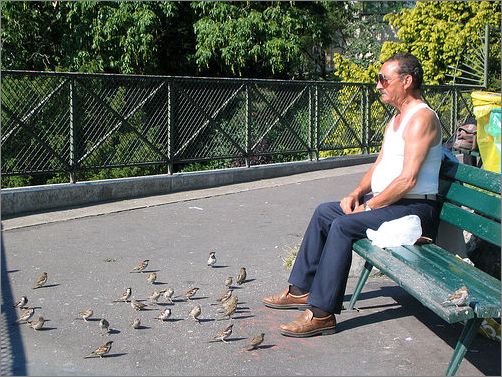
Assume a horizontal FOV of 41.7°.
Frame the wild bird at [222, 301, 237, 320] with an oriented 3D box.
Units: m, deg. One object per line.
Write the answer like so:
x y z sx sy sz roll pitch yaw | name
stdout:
-0.205 1.142 6.373 0.125 0.174 0.236 1 12 0 | wild bird

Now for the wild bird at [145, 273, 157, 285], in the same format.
-1.057 0.965 7.101 0.073 0.143 0.128 19 -23 -38 | wild bird

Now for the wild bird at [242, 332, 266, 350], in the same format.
0.032 1.349 5.862 0.172 0.132 0.096 -6 4 -8 | wild bird

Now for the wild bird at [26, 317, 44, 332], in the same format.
-1.987 1.257 6.137 0.142 0.127 0.087 12 -10 28 | wild bird

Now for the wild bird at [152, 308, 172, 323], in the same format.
-0.850 1.201 6.279 0.143 0.115 0.090 5 -6 8 | wild bird

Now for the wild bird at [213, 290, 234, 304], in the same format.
-0.265 1.100 6.652 0.196 0.135 0.078 -21 -27 22 | wild bird

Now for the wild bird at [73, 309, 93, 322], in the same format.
-1.568 1.198 6.250 0.199 0.132 0.071 7 -6 34 | wild bird

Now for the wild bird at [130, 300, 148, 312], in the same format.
-1.109 1.137 6.525 0.147 0.090 0.155 3 13 7 | wild bird

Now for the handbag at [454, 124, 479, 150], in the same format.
2.690 -0.644 8.283 0.259 0.276 0.252 -1 4 -41 | handbag

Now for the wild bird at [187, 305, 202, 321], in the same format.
-0.522 1.185 6.302 0.144 0.154 0.088 -8 -21 36 | wild bird

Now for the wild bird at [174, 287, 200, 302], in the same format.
-0.645 1.080 6.763 0.273 0.138 0.101 -1 -18 2 | wild bird

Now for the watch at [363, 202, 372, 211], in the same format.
1.095 0.182 6.261 0.081 0.095 0.057 15 -34 -22 | watch

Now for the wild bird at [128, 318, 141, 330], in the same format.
-1.073 1.244 6.126 0.059 0.079 0.098 9 -20 -24 | wild bird

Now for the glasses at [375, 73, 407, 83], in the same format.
1.356 -1.073 6.367 0.222 0.090 0.186 4 11 -3 | glasses

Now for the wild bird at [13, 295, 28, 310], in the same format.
-2.290 1.108 6.461 0.153 0.166 0.077 -2 -12 23 | wild bird

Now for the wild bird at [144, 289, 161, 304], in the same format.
-0.987 1.085 6.637 0.073 0.117 0.172 2 -1 -28 | wild bird

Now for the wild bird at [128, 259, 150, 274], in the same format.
-1.250 0.886 7.452 0.230 0.155 0.090 -7 -9 17 | wild bird

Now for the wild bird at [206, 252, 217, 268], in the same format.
-0.450 0.813 7.582 0.148 0.161 0.097 -1 6 41 | wild bird

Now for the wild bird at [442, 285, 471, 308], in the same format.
1.596 0.841 5.129 0.183 0.153 0.119 -6 0 13 | wild bird

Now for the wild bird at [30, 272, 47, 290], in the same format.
-2.258 0.936 7.033 0.154 0.160 0.332 -2 13 -16 | wild bird

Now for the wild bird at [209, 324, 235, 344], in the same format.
-0.249 1.312 5.961 0.218 0.151 0.086 -23 -34 25 | wild bird

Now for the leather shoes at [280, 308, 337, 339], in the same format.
0.520 1.231 6.101 0.486 0.253 0.218 0 0 -5 | leather shoes

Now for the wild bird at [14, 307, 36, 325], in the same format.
-2.152 1.199 6.246 0.237 0.152 0.090 -19 -18 18 | wild bird

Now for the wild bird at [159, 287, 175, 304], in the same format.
-0.850 1.078 6.674 0.075 0.099 0.178 1 2 -16 | wild bird

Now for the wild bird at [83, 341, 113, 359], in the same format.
-1.331 1.385 5.768 0.213 0.109 0.221 0 13 -4 | wild bird

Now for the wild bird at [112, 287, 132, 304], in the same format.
-1.275 1.083 6.699 0.251 0.169 0.081 -13 -17 29 | wild bird

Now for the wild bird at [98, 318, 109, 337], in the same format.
-1.340 1.261 6.017 0.073 0.122 0.155 -2 -18 -2 | wild bird
